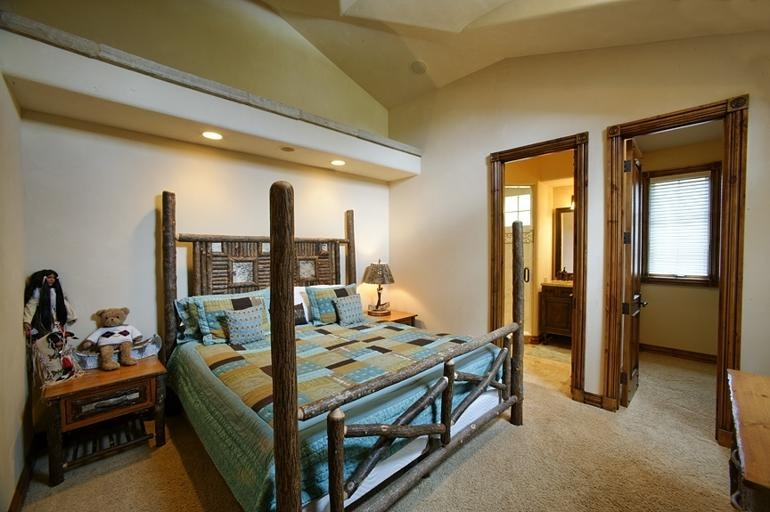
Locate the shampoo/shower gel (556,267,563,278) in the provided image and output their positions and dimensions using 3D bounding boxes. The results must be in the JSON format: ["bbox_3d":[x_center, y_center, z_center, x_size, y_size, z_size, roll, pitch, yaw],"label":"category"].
[{"bbox_3d":[2.524,0.256,6.989,0.084,0.137,0.139,-3,1,9],"label":"shampoo/shower gel"}]

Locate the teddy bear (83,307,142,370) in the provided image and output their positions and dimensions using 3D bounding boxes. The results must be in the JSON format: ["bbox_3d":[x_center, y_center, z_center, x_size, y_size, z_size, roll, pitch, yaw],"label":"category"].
[{"bbox_3d":[-2.546,0.755,4.535,0.450,0.612,0.391,-5,-12,-14],"label":"teddy bear"}]

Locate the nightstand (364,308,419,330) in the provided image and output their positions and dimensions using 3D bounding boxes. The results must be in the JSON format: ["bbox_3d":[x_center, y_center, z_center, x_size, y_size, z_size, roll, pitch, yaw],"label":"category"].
[{"bbox_3d":[0.102,0.760,6.094,0.329,0.332,0.338,3,6,43],"label":"nightstand"}]

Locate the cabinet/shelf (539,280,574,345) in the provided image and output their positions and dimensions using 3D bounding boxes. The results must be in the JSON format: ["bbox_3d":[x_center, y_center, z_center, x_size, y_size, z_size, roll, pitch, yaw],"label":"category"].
[{"bbox_3d":[2.417,0.780,6.690,0.520,0.847,0.458,-1,2,45],"label":"cabinet/shelf"}]

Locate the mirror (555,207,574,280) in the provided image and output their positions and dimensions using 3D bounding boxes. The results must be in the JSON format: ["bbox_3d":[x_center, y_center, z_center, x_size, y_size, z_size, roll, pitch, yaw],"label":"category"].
[{"bbox_3d":[2.587,-0.243,7.023,0.261,0.916,0.108,-2,2,33],"label":"mirror"}]

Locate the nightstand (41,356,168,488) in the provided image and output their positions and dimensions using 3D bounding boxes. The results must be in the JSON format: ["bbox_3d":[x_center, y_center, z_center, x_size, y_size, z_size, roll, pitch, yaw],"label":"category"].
[{"bbox_3d":[-2.537,1.288,4.538,1.155,1.070,0.879,-3,1,-45],"label":"nightstand"}]

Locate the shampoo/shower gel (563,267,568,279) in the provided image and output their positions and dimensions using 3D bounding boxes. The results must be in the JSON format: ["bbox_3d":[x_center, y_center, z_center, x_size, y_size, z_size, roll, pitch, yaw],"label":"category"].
[{"bbox_3d":[2.595,0.233,6.966,0.070,0.154,0.167,-2,1,15],"label":"shampoo/shower gel"}]
